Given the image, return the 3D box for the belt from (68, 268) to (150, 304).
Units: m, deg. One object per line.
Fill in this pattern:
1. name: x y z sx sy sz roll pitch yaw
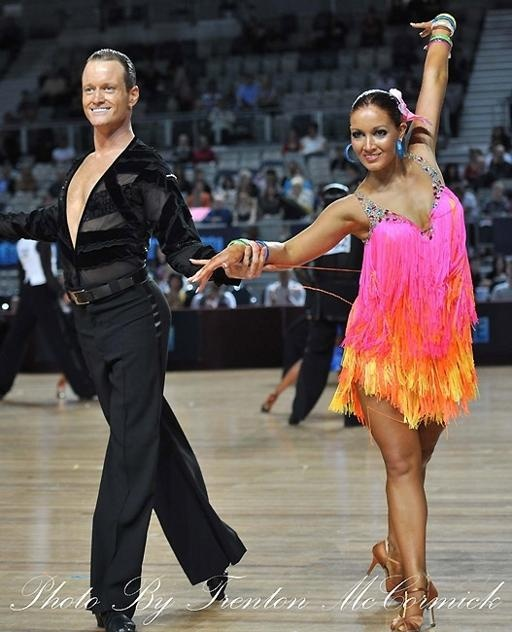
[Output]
1. belt: -0.459 -0.086 3.785 0.241 0.119 0.133 -1 9 -5

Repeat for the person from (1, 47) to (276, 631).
1. person: -0.470 0.055 3.809 0.586 1.769 0.547 7 13 39

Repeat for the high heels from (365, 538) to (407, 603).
1. high heels: 0.416 0.837 3.965 0.120 0.186 0.071 -23 -21 8
